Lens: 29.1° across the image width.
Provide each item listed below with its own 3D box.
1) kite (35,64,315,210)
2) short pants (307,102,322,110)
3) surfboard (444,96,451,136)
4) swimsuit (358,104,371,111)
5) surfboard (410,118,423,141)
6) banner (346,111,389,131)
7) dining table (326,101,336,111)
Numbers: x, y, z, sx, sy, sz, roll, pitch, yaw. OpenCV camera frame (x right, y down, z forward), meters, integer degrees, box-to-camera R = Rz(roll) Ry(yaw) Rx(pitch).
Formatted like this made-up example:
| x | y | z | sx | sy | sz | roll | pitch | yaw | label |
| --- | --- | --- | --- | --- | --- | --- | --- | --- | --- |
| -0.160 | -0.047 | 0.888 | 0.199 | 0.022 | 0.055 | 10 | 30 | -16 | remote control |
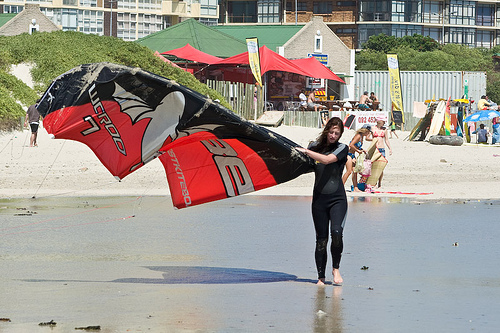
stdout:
| x | y | z | sx | sy | sz | roll | pitch | yaw | label |
| --- | --- | --- | --- | --- | --- | --- | --- | --- | --- |
| -1.678 | -0.593 | 19.450 | 4.917 | 2.911 | 0.484 | 1 | 10 | 1 | kite |
| 2.893 | -2.831 | 45.071 | 0.419 | 0.151 | 0.366 | 2 | 11 | -35 | short pants |
| 8.519 | -2.169 | 41.976 | 0.276 | 1.517 | 0.537 | 3 | 10 | 11 | surfboard |
| 5.252 | -2.777 | 45.075 | 0.637 | 0.227 | 0.466 | -4 | 21 | -30 | swimsuit |
| 7.259 | -1.625 | 42.307 | 0.353 | 0.198 | 1.130 | 1 | 45 | 43 | surfboard |
| 4.456 | -1.796 | 37.324 | 1.453 | 1.046 | 3.019 | -2 | -4 | 0 | banner |
| 3.741 | -2.869 | 45.266 | 0.454 | 0.445 | 1.240 | 1 | 10 | 4 | dining table |
